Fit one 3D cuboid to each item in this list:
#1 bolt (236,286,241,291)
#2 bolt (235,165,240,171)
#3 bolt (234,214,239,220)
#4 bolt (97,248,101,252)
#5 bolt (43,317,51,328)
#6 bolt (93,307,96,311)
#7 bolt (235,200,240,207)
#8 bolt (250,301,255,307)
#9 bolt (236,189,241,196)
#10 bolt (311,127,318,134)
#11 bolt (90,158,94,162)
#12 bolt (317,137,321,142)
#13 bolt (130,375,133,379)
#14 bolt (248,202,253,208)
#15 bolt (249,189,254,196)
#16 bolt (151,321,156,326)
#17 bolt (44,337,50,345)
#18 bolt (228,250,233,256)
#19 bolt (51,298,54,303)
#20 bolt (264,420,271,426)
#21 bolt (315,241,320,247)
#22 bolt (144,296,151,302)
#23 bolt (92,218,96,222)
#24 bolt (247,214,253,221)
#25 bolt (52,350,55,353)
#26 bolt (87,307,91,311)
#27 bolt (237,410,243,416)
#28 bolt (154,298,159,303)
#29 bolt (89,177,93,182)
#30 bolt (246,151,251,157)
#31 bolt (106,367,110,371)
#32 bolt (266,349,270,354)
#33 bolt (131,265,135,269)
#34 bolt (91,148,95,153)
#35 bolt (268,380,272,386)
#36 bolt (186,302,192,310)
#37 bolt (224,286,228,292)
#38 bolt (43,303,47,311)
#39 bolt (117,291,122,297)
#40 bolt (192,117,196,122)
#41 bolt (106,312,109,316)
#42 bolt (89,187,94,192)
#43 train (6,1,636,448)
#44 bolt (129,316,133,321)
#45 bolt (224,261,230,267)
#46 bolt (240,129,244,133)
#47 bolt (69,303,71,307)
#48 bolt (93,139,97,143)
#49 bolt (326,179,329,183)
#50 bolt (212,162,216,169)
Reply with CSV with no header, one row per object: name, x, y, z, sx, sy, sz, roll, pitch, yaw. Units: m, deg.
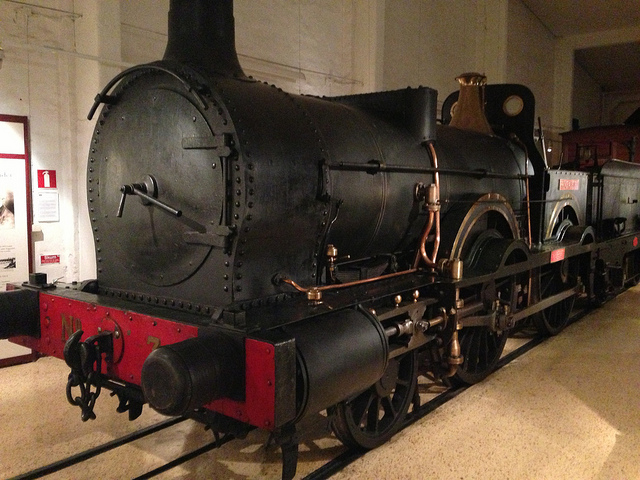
bolt,-0.574,0.341,3.649,0.035,0.039,0.011,1,2,-33
bolt,-0.560,-0.489,3.513,0.036,0.034,0.004,5,11,30
bolt,-0.568,-0.155,3.533,0.040,0.035,0.007,4,11,26
bolt,-1.850,0.087,4.331,0.042,0.033,0.008,7,12,35
bolt,-2.199,0.662,4.162,0.077,0.077,0.019,6,11,32
bolt,-1.700,0.517,3.907,0.025,0.027,0.007,-28,-11,11
bolt,-0.561,-0.247,3.528,0.037,0.046,0.009,6,11,32
bolt,-0.485,0.465,3.740,0.030,0.033,0.007,5,-2,-42
bolt,-0.557,-0.320,3.508,0.026,0.038,0.009,6,-1,10
bolt,-0.041,-0.841,3.998,0.045,0.049,0.014,5,-6,-33
bolt,-1.889,-0.661,4.290,0.023,0.026,0.024,3,0,19
bolt,-0.007,-0.770,3.985,0.020,0.035,0.010,-1,5,-5
bolt,-1.362,0.991,3.739,0.028,0.035,0.004,6,12,34
bolt,-0.472,-0.238,3.532,0.028,0.037,0.028,-1,4,-38
bolt,-0.464,-0.323,3.529,0.034,0.036,0.008,-7,11,-42
bolt,-1.171,0.588,3.631,0.030,0.023,0.018,3,9,17
bolt,-2.192,0.811,4.153,0.063,0.059,0.012,6,11,32
bolt,-0.617,0.091,3.578,0.038,0.039,0.006,5,11,29
bolt,-2.129,0.486,4.123,0.018,0.034,0.022,1,-1,-1
bolt,-0.327,1.143,3.241,0.044,0.037,0.012,8,13,39
bolt,-0.020,0.040,4.092,0.038,0.039,0.009,-8,12,-36
bolt,-1.349,0.463,4.049,0.067,0.048,0.012,7,12,37
bolt,-1.893,-0.166,4.343,0.036,0.032,0.005,7,12,36
bolt,-0.479,-0.155,3.552,0.029,0.024,0.030,2,2,-17
bolt,-2.121,0.886,4.117,0.019,0.020,0.005,-2,5,-18
bolt,-1.762,0.528,3.943,0.032,0.029,0.003,7,12,35
bolt,-0.522,1.134,3.387,0.044,0.042,0.006,5,11,30
bolt,-1.263,0.468,3.995,0.024,0.048,0.031,-3,3,-43
bolt,-1.915,-0.503,4.322,0.028,0.032,0.030,1,-2,1
bolt,-0.485,-0.582,3.523,0.008,0.029,0.030,3,52,56
bolt,-1.581,0.961,3.859,0.027,0.030,0.007,1,-3,-4
bolt,-0.321,0.692,3.206,0.025,0.031,0.003,7,12,37
bolt,-1.483,0.215,4.103,0.039,0.032,0.008,9,13,42
bolt,-1.874,-0.736,4.270,0.034,0.036,0.005,4,11,27
bolt,-0.309,0.891,3.223,0.031,0.037,0.004,6,12,35
bolt,-0.962,0.485,3.813,0.012,0.053,0.034,-14,3,-43
bolt,-0.658,0.346,3.632,0.025,0.041,0.004,4,11,24
bolt,-2.215,0.540,4.167,0.043,0.061,0.012,6,11,33
bolt,-1.641,0.445,4.238,0.037,0.039,0.013,-11,15,28
bolt,-0.894,-0.859,3.679,0.017,0.019,0.006,14,-4,39
bolt,-1.576,0.552,3.840,0.027,0.026,0.001,4,11,26
bolt,-1.914,-0.418,4.328,0.047,0.037,0.008,7,12,35
train,1.126,0.020,6.992,3.408,3.664,8.647,2,5,36
bolt,-1.363,0.565,3.729,0.025,0.031,0.026,-8,12,-31
bolt,-0.644,0.167,3.599,0.029,0.039,0.031,-5,-2,0
bolt,-0.531,-0.740,3.535,0.015,0.023,0.054,1,14,5
bolt,-1.945,0.504,4.025,0.022,0.028,0.022,3,-3,-41
bolt,-1.852,-0.809,4.257,0.024,0.049,0.024,3,9,22
bolt,0.058,-0.448,3.951,0.004,0.024,0.020,8,13,41
bolt,-0.733,-0.513,3.591,0.030,0.043,0.002,5,11,31
